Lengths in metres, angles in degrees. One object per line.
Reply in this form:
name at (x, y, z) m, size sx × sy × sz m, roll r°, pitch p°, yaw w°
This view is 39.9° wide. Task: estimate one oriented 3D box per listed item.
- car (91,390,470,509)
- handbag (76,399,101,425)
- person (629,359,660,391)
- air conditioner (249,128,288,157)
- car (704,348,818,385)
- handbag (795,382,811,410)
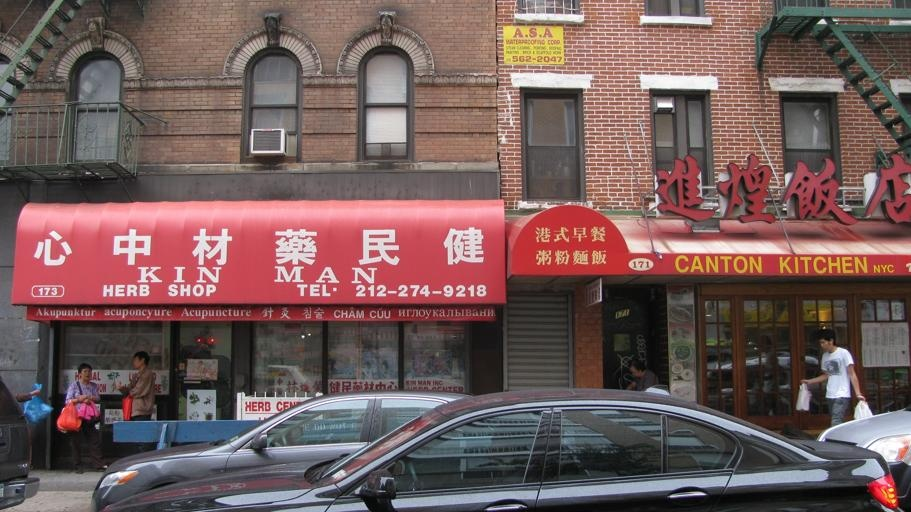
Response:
car at (-3.653, 4.138, 26.649) m, size 7.313 × 1.837 × 2.768 m, roll 1°, pitch -10°, yaw -3°
handbag at (-8.663, 3.697, 29.490) m, size 0.651 × 0.530 × 0.331 m, roll 12°, pitch -5°, yaw -34°
person at (4.518, 2.862, 30.095) m, size 0.632 × 0.818 × 1.262 m, roll -2°, pitch -12°, yaw 1°
air conditioner at (-4.538, -2.715, 30.596) m, size 1.285 × 0.756 × 0.636 m, roll -1°, pitch -8°, yaw -1°
car at (7.400, 2.743, 30.509) m, size 2.504 × 0.681 × 1.015 m, roll 2°, pitch -6°, yaw 2°
handbag at (8.133, 3.334, 29.353) m, size 0.351 × 0.734 × 0.725 m, roll 1°, pitch -13°, yaw 23°
